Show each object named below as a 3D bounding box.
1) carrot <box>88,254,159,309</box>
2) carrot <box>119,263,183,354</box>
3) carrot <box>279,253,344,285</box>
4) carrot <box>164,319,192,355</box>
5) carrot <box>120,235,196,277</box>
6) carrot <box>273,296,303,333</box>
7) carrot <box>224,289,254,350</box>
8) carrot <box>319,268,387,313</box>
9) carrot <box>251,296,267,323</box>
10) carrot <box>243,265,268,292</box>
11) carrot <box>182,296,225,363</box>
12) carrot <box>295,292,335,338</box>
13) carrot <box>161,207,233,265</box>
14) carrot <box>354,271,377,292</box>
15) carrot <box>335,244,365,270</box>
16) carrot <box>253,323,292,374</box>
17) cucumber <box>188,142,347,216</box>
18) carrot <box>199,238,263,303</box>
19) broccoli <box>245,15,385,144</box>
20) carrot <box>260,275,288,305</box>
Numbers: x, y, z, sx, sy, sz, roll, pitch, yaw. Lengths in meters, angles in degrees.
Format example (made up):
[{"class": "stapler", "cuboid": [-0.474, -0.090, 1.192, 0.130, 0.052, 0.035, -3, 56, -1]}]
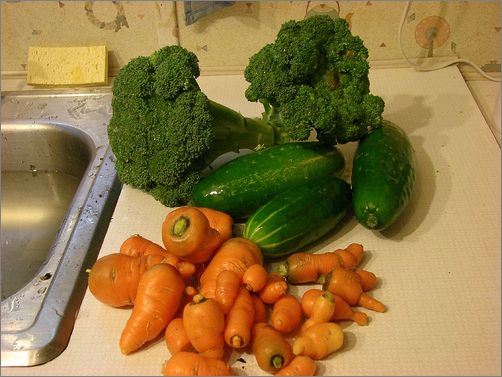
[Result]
[{"class": "carrot", "cuboid": [-0.335, 0.244, 1.117, 0.192, 0.104, 0.109, -7, 50, -13]}, {"class": "carrot", "cuboid": [-0.245, 0.298, 1.054, 0.122, 0.107, 0.239, 37, 71, -12]}, {"class": "carrot", "cuboid": [0.162, 0.216, 1.105, 0.165, 0.080, 0.073, -5, 33, -7]}, {"class": "carrot", "cuboid": [-0.178, 0.360, 0.984, 0.055, 0.044, 0.078, 3, 43, 2]}, {"class": "carrot", "cuboid": [-0.247, 0.184, 1.081, 0.152, 0.051, 0.057, 25, 15, 7]}, {"class": "carrot", "cuboid": [0.094, 0.314, 1.021, 0.058, 0.058, 0.093, 13, 2, 10]}, {"class": "carrot", "cuboid": [-0.022, 0.314, 0.997, 0.059, 0.053, 0.130, 18, 34, 0]}, {"class": "carrot", "cuboid": [0.279, 0.267, 1.078, 0.190, 0.075, 0.137, 12, 26, -14]}, {"class": "carrot", "cuboid": [0.025, 0.310, 1.057, 0.030, 0.023, 0.065, -6, 46, 4]}, {"class": "carrot", "cuboid": [0.007, 0.232, 1.094, 0.052, 0.052, 0.069, 41, 26, 19]}, {"class": "carrot", "cuboid": [-0.104, 0.327, 1.000, 0.078, 0.073, 0.165, -20, 93, 0]}, {"class": "carrot", "cuboid": [0.174, 0.304, 0.997, 0.056, 0.058, 0.136, 37, 92, 16]}, {"class": "carrot", "cuboid": [-0.146, 0.133, 1.094, 0.092, 0.080, 0.139, 45, 18, 22]}, {"class": "carrot", "cuboid": [0.304, 0.246, 1.091, 0.059, 0.035, 0.047, 37, 67, 23]}, {"class": "carrot", "cuboid": [0.276, 0.177, 1.130, 0.055, 0.038, 0.080, 20, 28, 25]}, {"class": "carrot", "cuboid": [0.047, 0.380, 0.950, 0.061, 0.052, 0.116, -14, 16, -11]}, {"class": "cucumber", "cuboid": [0.048, -0.043, 1.267, 0.444, 0.178, 0.206, -20, 27, -1]}, {"class": "carrot", "cuboid": [-0.056, 0.206, 1.120, 0.101, 0.096, 0.184, 31, 42, 6]}, {"class": "broccoli", "cuboid": [0.175, -0.323, 1.253, 0.394, 0.202, 0.389, 1, 85, -10]}, {"class": "carrot", "cuboid": [0.058, 0.268, 1.087, 0.073, 0.036, 0.061, -26, 41, 11]}]
